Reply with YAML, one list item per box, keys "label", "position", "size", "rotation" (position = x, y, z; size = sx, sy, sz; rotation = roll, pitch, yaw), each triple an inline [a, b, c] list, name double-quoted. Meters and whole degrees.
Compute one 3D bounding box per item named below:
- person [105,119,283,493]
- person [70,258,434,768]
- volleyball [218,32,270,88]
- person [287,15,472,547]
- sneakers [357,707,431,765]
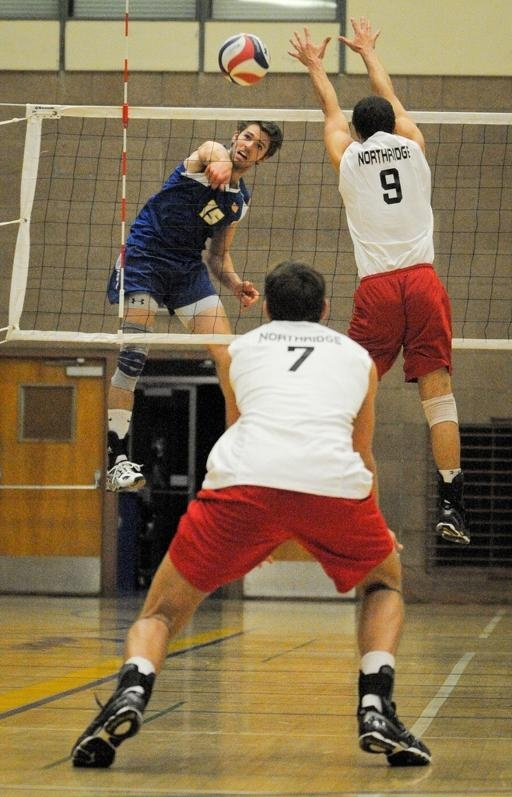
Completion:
- label: "person"
  position: [-0.311, -0.566, 6.347]
  size: [1.209, 1.943, 1.020]
  rotation: [-1, -8, 34]
- label: "person"
  position: [0.026, 0.372, 4.507]
  size: [1.324, 1.840, 0.905]
  rotation: [3, -23, -3]
- label: "volleyball"
  position: [-0.068, -1.850, 6.718]
  size: [0.270, 0.268, 0.199]
  rotation: [3, 0, -5]
- label: "person"
  position: [0.588, -0.586, 5.845]
  size: [0.896, 2.409, 0.708]
  rotation: [2, 10, 38]
- label: "sneakers"
  position: [0.515, 1.175, 4.210]
  size: [0.139, 0.176, 0.386]
  rotation: [-12, -30, 32]
